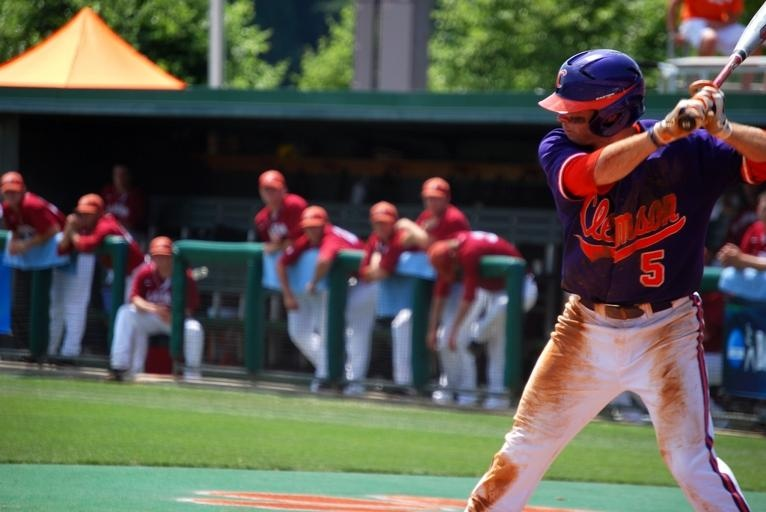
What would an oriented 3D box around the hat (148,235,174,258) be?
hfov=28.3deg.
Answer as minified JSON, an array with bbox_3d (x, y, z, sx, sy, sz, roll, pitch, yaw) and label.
[{"bbox_3d":[-1.403,-0.059,9.534,0.129,0.095,0.125,2,-5,-18],"label":"hat"}]

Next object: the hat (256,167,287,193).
[{"bbox_3d":[-0.719,-0.459,9.740,0.155,0.155,0.202,-2,-36,8],"label":"hat"}]

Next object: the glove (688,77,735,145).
[{"bbox_3d":[1.637,-0.735,7.690,0.098,0.285,0.223,-22,2,-27],"label":"glove"}]

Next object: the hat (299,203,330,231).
[{"bbox_3d":[-0.429,-0.240,9.519,0.128,0.122,0.169,-2,11,23],"label":"hat"}]

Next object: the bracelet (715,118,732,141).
[{"bbox_3d":[1.711,-0.633,7.661,0.085,0.088,0.090,4,19,18],"label":"bracelet"}]

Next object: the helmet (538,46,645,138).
[{"bbox_3d":[1.083,-0.884,7.989,0.594,0.407,0.400,-9,26,-15],"label":"helmet"}]

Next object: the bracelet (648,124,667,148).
[{"bbox_3d":[1.362,-0.602,7.607,0.096,0.056,0.116,6,21,-5],"label":"bracelet"}]
